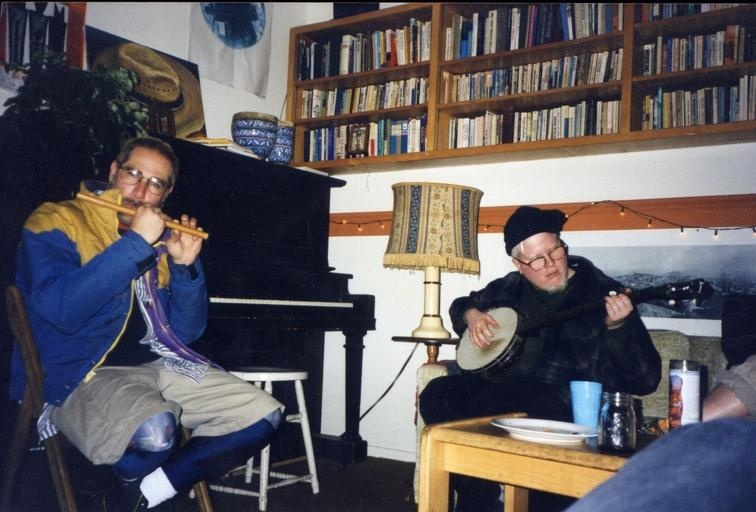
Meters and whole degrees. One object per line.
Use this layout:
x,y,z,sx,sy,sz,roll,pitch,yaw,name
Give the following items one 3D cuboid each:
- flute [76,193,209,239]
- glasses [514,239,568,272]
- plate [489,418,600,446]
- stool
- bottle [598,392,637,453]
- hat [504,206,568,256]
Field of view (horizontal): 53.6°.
-1.213,-0.203,3.759,0.788,0.072,0.079,19,-26,-9,flute
0.917,-0.011,4.250,0.196,0.054,0.191,-27,7,-7,glasses
0.695,0.720,3.202,0.468,0.087,0.299,1,-2,-9,plate
-0.645,1.001,4.574,0.682,0.836,0.704,0,3,-43,stool
0.988,0.699,3.157,0.130,0.214,0.157,2,-1,35,bottle
0.906,-0.160,4.321,0.347,0.270,0.337,4,6,24,hat
